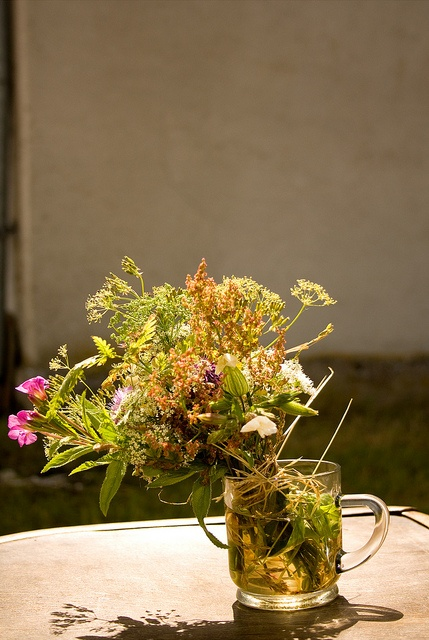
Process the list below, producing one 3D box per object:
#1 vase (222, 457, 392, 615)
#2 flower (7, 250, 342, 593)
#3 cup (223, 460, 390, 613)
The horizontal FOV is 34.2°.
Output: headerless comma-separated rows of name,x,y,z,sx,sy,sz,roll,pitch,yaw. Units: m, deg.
vase,0.058,0.171,0.560,0.145,0.105,0.086,1,-3,-2
flower,-0.033,0.060,0.547,0.249,0.217,0.223,-2,1,-16
cup,0.072,0.165,0.540,0.135,0.102,0.083,-3,-11,5
